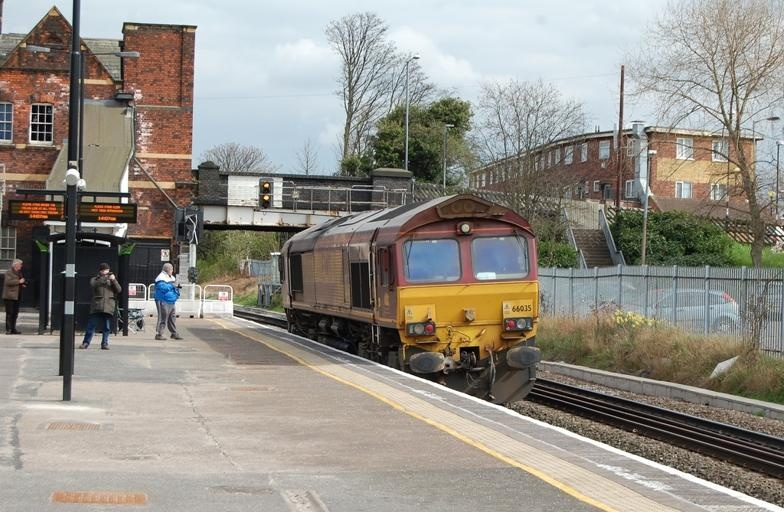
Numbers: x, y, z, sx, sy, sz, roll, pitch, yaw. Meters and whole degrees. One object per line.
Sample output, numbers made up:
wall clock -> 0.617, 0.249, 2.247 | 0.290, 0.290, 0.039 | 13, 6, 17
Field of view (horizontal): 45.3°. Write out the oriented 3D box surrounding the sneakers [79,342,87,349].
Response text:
sneakers -> -7.782, 2.323, 24.544 | 0.130, 0.159, 0.207 | 3, -14, -27

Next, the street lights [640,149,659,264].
street lights -> 12.666, -3.379, 47.735 | 0.738, 3.854, 0.716 | 3, 11, 9

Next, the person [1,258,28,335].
person -> -10.972, 1.181, 28.270 | 0.578, 2.208, 1.526 | 0, 6, -21

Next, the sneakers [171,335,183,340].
sneakers -> -6.209, 2.428, 28.231 | 0.411, 0.195, 0.137 | 0, 0, -5

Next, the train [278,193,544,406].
train -> -0.771, 0.709, 25.621 | 3.361, 4.111, 10.330 | -4, 6, -28
